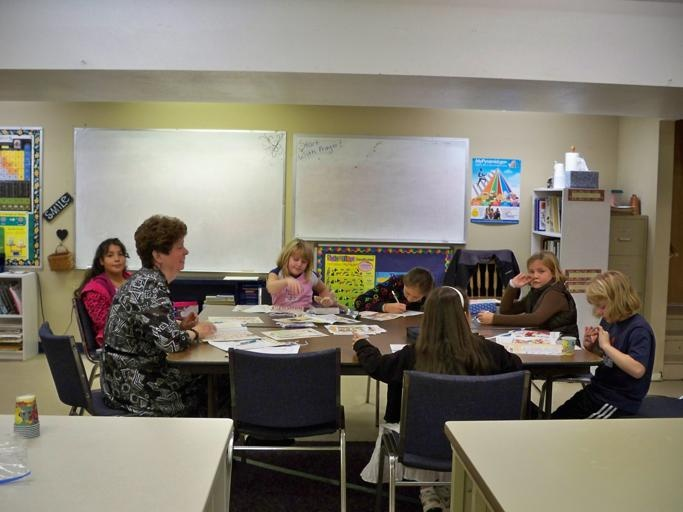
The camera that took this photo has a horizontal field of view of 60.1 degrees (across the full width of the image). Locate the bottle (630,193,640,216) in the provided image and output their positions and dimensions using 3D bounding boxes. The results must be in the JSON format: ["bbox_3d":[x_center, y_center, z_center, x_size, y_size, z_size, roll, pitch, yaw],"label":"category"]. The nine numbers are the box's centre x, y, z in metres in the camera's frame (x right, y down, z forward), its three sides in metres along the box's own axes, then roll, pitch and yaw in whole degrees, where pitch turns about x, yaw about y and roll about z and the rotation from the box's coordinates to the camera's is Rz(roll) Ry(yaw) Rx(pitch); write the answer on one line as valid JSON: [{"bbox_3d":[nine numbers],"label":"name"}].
[{"bbox_3d":[2.404,-0.428,4.828,0.079,0.176,0.168,0,-1,26],"label":"bottle"}]

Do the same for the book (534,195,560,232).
[{"bbox_3d":[1.710,-0.340,4.887,0.062,0.281,0.267,0,-3,-10],"label":"book"}]

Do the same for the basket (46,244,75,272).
[{"bbox_3d":[-2.324,0.023,4.924,0.236,0.252,0.183,0,6,-5],"label":"basket"}]

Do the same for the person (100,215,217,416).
[{"bbox_3d":[-0.774,0.279,2.579,0.453,0.910,0.443,0,-1,22],"label":"person"}]

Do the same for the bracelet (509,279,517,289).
[{"bbox_3d":[1.040,0.160,3.557,0.036,0.044,0.048,6,-5,1],"label":"bracelet"}]

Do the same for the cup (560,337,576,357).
[{"bbox_3d":[1.007,0.408,2.650,0.069,0.062,0.076,0,-4,0],"label":"cup"}]

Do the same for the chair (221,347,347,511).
[{"bbox_3d":[-0.196,0.626,2.464,0.532,0.899,0.610,0,10,0],"label":"chair"}]

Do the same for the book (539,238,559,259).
[{"bbox_3d":[1.556,-0.059,4.401,0.165,0.170,0.125,0,8,-13],"label":"book"}]
